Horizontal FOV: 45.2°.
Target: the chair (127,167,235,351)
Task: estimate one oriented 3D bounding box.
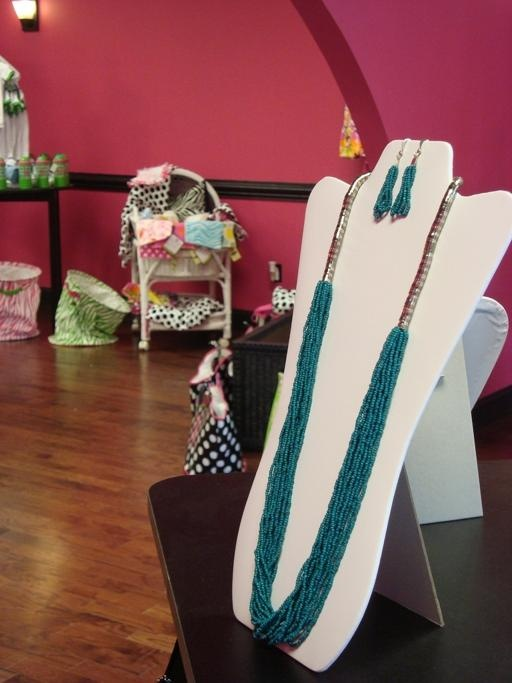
[{"bbox_3d":[-0.485,-0.558,3.988,0.784,1.130,0.587,-2,14,-10],"label":"chair"}]

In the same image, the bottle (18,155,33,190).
[{"bbox_3d":[-1.477,-1.076,3.934,0.090,0.196,0.169,-5,14,-19],"label":"bottle"}]

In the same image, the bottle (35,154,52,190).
[{"bbox_3d":[-1.367,-1.094,3.953,0.086,0.220,0.098,-7,15,-25],"label":"bottle"}]

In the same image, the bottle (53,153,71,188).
[{"bbox_3d":[-1.295,-1.127,4.072,0.105,0.227,0.303,-4,14,-17],"label":"bottle"}]

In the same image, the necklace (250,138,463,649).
[{"bbox_3d":[0.070,0.047,0.487,0.135,0.343,0.188,6,15,22],"label":"necklace"}]
